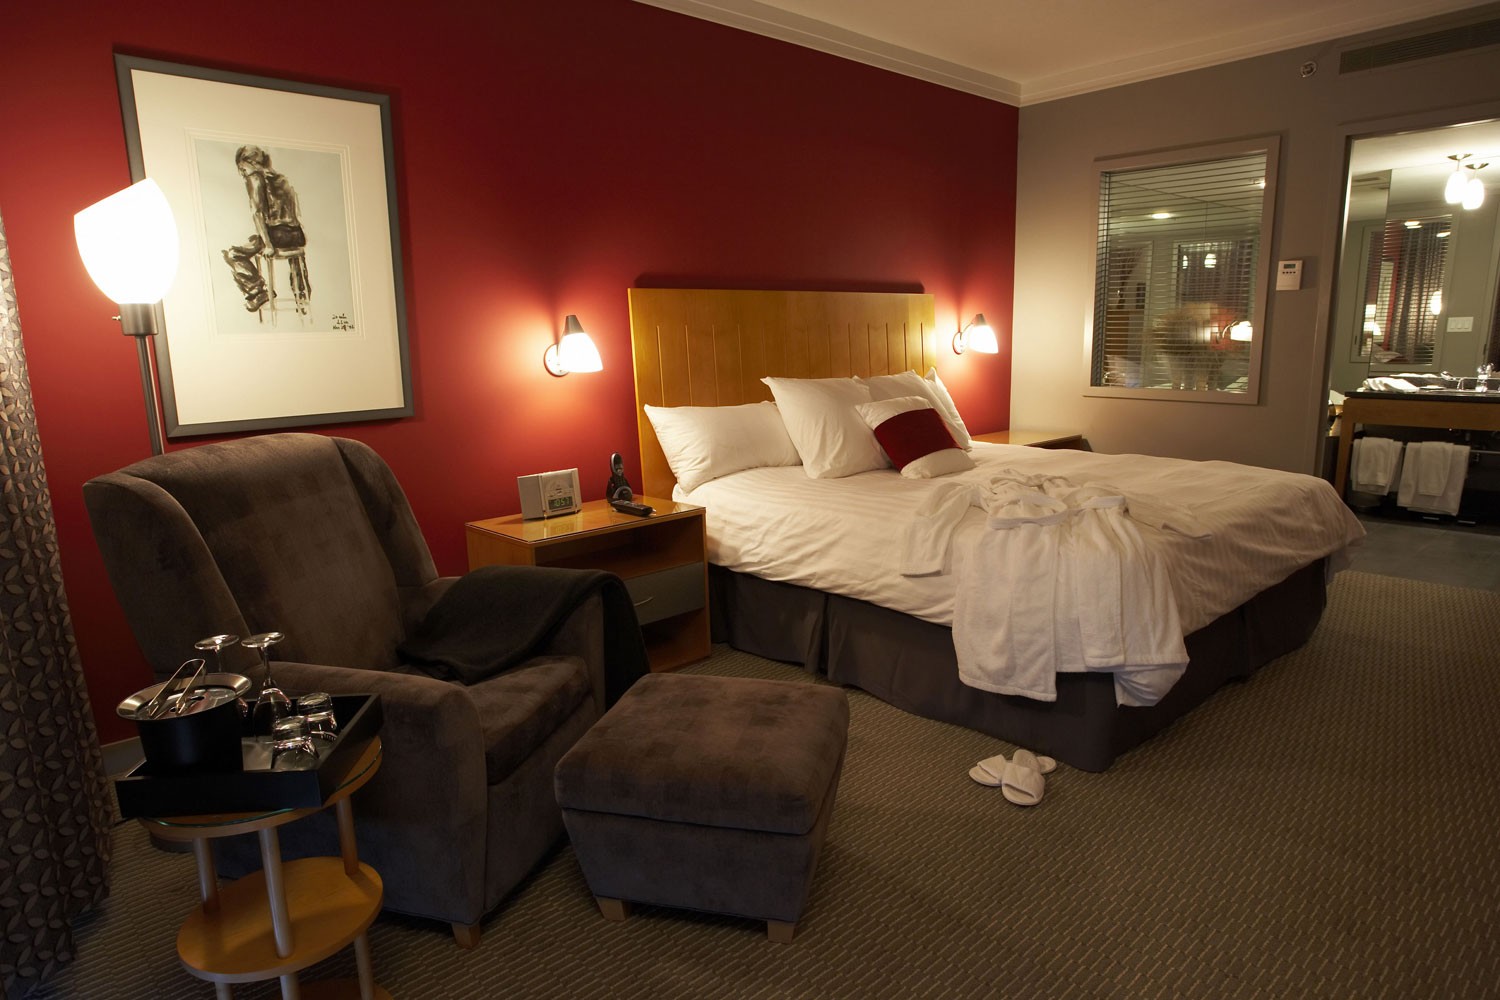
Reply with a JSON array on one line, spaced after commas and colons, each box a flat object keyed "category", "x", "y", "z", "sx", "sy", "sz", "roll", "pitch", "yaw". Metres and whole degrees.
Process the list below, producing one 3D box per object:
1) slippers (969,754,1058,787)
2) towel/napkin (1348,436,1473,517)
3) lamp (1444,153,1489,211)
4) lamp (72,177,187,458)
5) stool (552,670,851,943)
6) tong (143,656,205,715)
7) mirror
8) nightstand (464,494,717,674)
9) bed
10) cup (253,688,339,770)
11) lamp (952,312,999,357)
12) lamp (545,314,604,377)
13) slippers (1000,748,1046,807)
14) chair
[{"category": "slippers", "x": 1.050, "y": 1.060, "z": 4.122, "sx": 0.354, "sy": 0.097, "sz": 0.138, "roll": -2, "pitch": 4, "yaw": -29}, {"category": "towel/napkin", "x": 4.492, "y": -0.176, "z": 6.907, "sx": 0.209, "sy": 0.362, "sz": 0.487, "roll": -5, "pitch": 9, "yaw": -38}, {"category": "lamp", "x": 5.517, "y": -2.410, "z": 7.843, "sx": 0.264, "sy": 0.447, "sz": 0.787, "roll": 4, "pitch": 17, "yaw": 35}, {"category": "lamp", "x": -2.255, "y": -0.649, "z": 3.816, "sx": 0.295, "sy": 0.985, "sz": 0.459, "roll": -17, "pitch": 17, "yaw": -36}, {"category": "stool", "x": -0.135, "y": 0.954, "z": 3.601, "sx": 0.780, "sy": 0.529, "sz": 0.842, "roll": 3, "pitch": 13, "yaw": 15}, {"category": "tong", "x": -1.728, "y": 0.563, "z": 3.092, "sx": 0.119, "sy": 0.047, "sz": 0.234, "roll": -9, "pitch": 21, "yaw": 6}, {"category": "mirror", "x": 5.403, "y": -1.677, "z": 8.490, "sx": 0.637, "sy": 1.156, "sz": 0.270, "roll": 3, "pitch": 17, "yaw": 34}, {"category": "nightstand", "x": -0.743, "y": 0.466, "z": 4.904, "sx": 0.686, "sy": 0.799, "sz": 0.966, "roll": 4, "pitch": 12, "yaw": 45}, {"category": "bed", "x": 1.525, "y": -0.376, "z": 5.597, "sx": 2.884, "sy": 2.089, "sz": 3.366, "roll": 6, "pitch": 18, "yaw": 41}, {"category": "cup", "x": -1.337, "y": 0.684, "z": 3.066, "sx": 0.249, "sy": 0.260, "sz": 0.152, "roll": -1, "pitch": 0, "yaw": 33}, {"category": "lamp", "x": 1.601, "y": -1.122, "z": 6.943, "sx": 0.238, "sy": 0.302, "sz": 0.348, "roll": -9, "pitch": 10, "yaw": -33}, {"category": "lamp", "x": -0.856, "y": -0.761, "z": 5.016, "sx": 0.284, "sy": 0.312, "sz": 0.285, "roll": -10, "pitch": 19, "yaw": -24}, {"category": "slippers", "x": 1.088, "y": 1.096, "z": 4.065, "sx": 0.162, "sy": 0.100, "sz": 0.271, "roll": -2, "pitch": 14, "yaw": 16}, {"category": "chair", "x": -1.397, "y": 0.574, "z": 3.883, "sx": 1.396, "sy": 1.526, "sz": 1.253, "roll": 1, "pitch": 12, "yaw": 15}]
